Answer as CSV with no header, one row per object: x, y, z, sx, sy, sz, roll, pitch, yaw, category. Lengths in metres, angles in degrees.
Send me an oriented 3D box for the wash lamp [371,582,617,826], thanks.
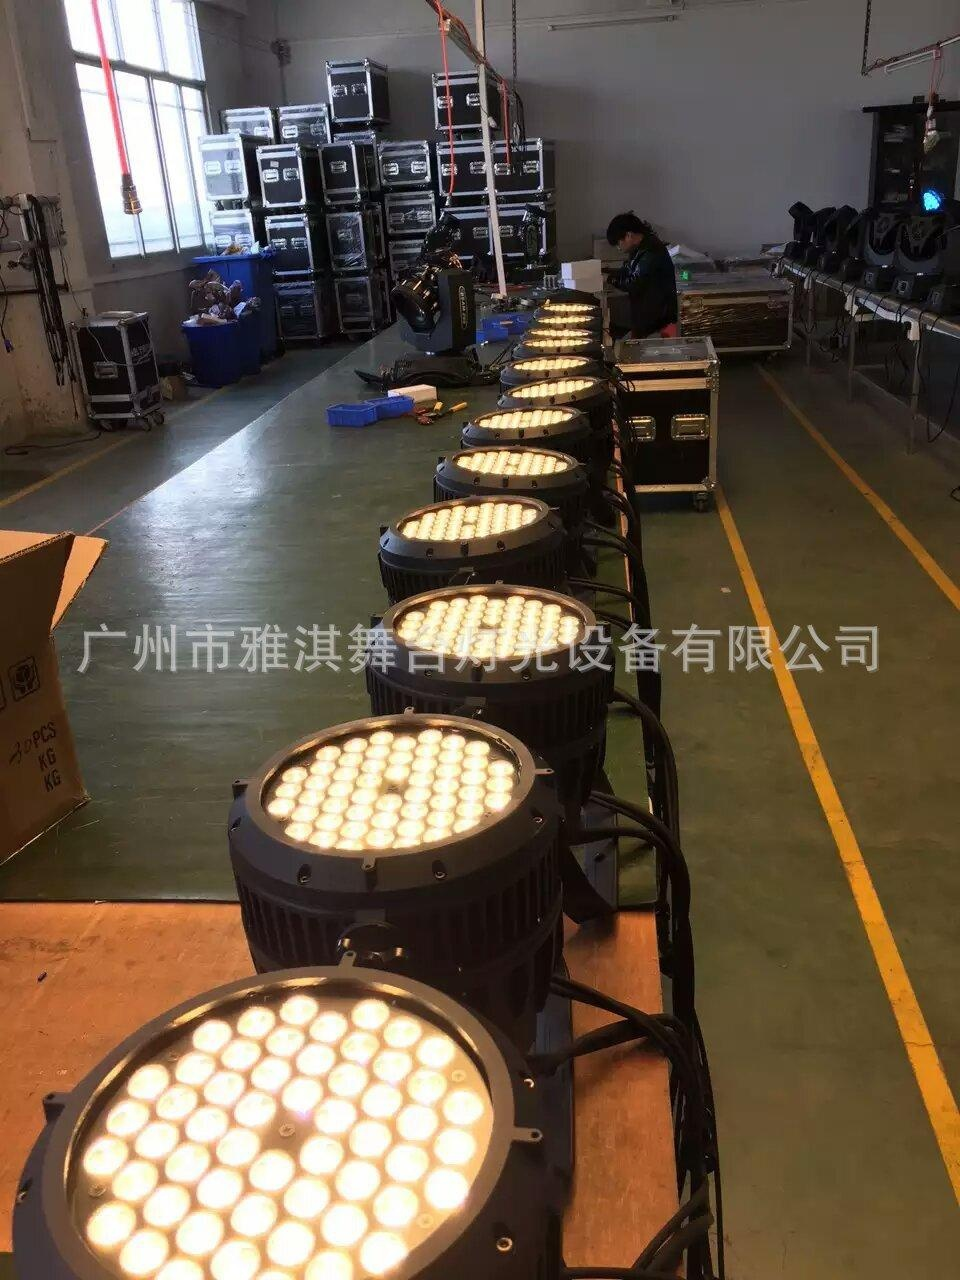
0.029,0.100,1.035,0.257,0.226,0.256,3,29,6,wash lamp

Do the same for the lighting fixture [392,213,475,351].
-0.244,-1.647,4.344,0.381,0.608,0.381,24,39,38,lighting fixture

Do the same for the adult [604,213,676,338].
1.081,-2.365,6.377,0.530,0.988,0.409,-5,31,4,adult

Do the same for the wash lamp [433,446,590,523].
0.070,-0.272,1.548,0.186,0.061,0.181,-15,28,-28,wash lamp

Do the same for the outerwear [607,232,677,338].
1.133,-2.404,6.333,0.443,0.645,0.463,-7,25,-2,outerwear

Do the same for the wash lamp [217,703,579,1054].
-0.043,0.221,0.791,0.256,0.267,0.288,-5,32,-5,wash lamp
